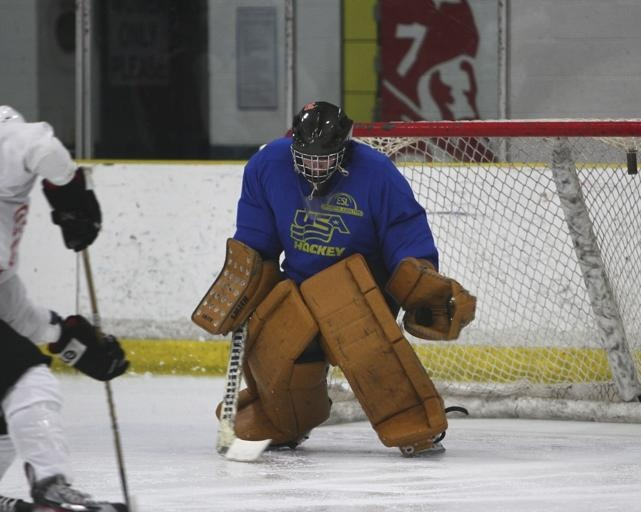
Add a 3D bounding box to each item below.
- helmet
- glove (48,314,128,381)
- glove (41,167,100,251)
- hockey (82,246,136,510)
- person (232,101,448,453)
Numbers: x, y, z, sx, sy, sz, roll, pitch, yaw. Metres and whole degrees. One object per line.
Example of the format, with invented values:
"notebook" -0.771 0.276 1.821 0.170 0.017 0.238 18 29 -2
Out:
"helmet" 0.017 -0.453 5.494 0.243 0.315 0.318 4 30 5
"glove" -0.897 0.368 5.402 0.322 0.213 0.134 37 14 -3
"glove" -0.957 -0.168 5.207 0.194 0.336 0.096 -28 21 -3
"hockey" -0.925 0.561 5.866 0.104 1.024 0.111 -12 -5 -20
"person" 0.068 0.093 5.504 0.846 1.403 0.477 -1 14 -1
